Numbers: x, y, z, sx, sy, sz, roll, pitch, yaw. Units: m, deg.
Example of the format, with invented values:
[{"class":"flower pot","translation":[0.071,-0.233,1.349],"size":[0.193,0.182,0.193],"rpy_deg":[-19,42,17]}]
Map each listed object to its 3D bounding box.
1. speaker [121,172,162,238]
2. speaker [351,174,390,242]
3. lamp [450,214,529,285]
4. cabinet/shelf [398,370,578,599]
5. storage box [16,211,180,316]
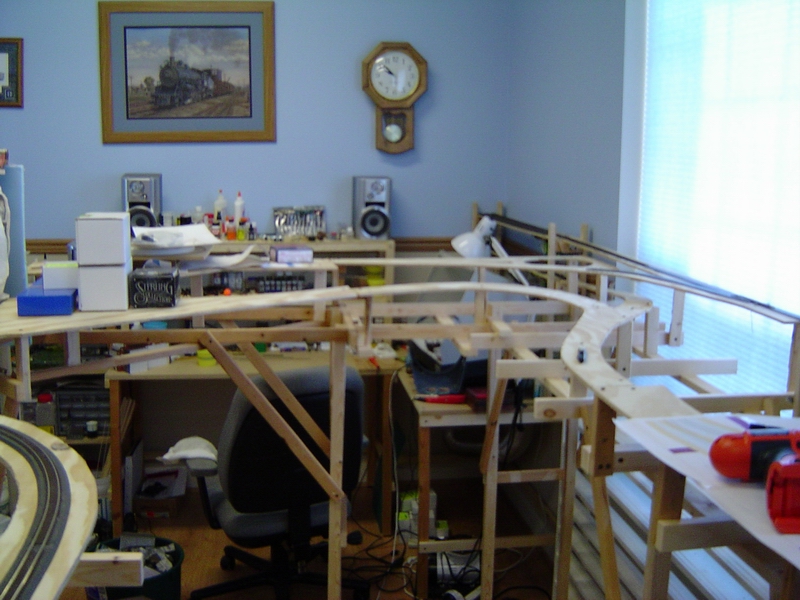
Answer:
[{"class":"speaker","translation":[-1.731,-0.616,4.669],"size":[0.237,0.409,0.217],"rpy_deg":[-5,9,-37]},{"class":"speaker","translation":[-0.135,-0.591,4.767],"size":[0.277,0.429,0.278],"rpy_deg":[6,-11,-25]},{"class":"lamp","translation":[0.618,-0.335,4.197],"size":[0.225,0.280,0.609],"rpy_deg":[-8,27,-44]},{"class":"cabinet/shelf","translation":[0.352,0.814,3.618],"size":[0.876,1.268,1.259],"rpy_deg":[-1,5,-12]},{"class":"storage box","translation":[-1.131,-0.170,2.685],"size":[0.470,0.364,0.334],"rpy_deg":[-1,17,-9]}]
